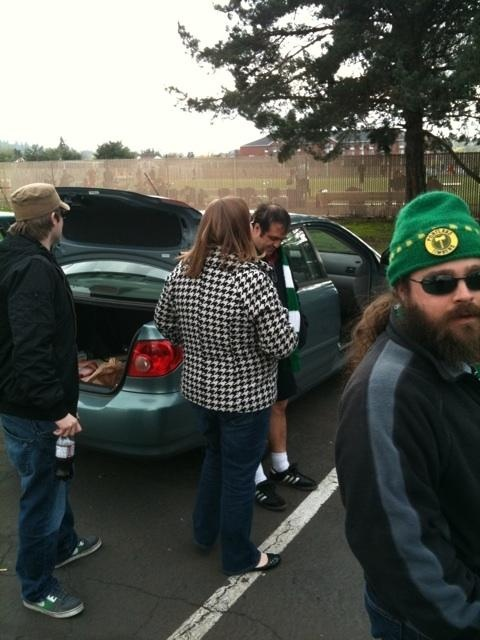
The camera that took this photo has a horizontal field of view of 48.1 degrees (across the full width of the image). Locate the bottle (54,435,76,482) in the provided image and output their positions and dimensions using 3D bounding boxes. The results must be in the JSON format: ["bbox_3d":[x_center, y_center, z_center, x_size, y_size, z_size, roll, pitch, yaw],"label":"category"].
[{"bbox_3d":[-0.668,0.525,2.057,0.068,0.184,0.063,-1,10,0],"label":"bottle"}]

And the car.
[{"bbox_3d":[-0.248,-0.205,3.882,1.598,0.981,2.407,11,23,38],"label":"car"}]

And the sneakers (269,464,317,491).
[{"bbox_3d":[0.319,0.929,3.288,0.296,0.130,0.111,5,7,24],"label":"sneakers"}]

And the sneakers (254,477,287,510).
[{"bbox_3d":[0.153,0.972,3.103,0.118,0.121,0.290,-9,6,-35],"label":"sneakers"}]

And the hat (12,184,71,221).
[{"bbox_3d":[-0.789,-0.473,2.171,0.136,0.097,0.194,6,19,28],"label":"hat"}]

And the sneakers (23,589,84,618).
[{"bbox_3d":[-0.784,1.141,2.221,0.262,0.114,0.096,0,3,7],"label":"sneakers"}]

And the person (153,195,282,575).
[{"bbox_3d":[-0.088,0.323,2.347,0.556,1.670,0.283,5,12,34],"label":"person"}]
